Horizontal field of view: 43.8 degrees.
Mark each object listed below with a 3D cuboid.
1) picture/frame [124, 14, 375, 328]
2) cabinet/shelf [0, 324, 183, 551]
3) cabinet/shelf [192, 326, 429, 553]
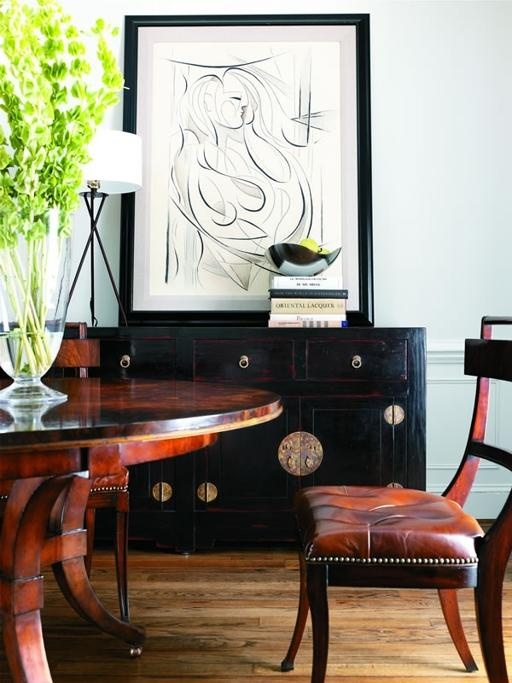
[{"bbox_3d":[-0.014,-0.695,2.733,1.107,1.587,0.064,0,-1,0],"label":"picture/frame"},{"bbox_3d":[-0.572,0.187,2.020,0.374,0.850,0.416,0,-1,-3],"label":"cabinet/shelf"},{"bbox_3d":[0.192,0.271,2.004,0.627,0.737,0.251,0,-2,0],"label":"cabinet/shelf"}]
